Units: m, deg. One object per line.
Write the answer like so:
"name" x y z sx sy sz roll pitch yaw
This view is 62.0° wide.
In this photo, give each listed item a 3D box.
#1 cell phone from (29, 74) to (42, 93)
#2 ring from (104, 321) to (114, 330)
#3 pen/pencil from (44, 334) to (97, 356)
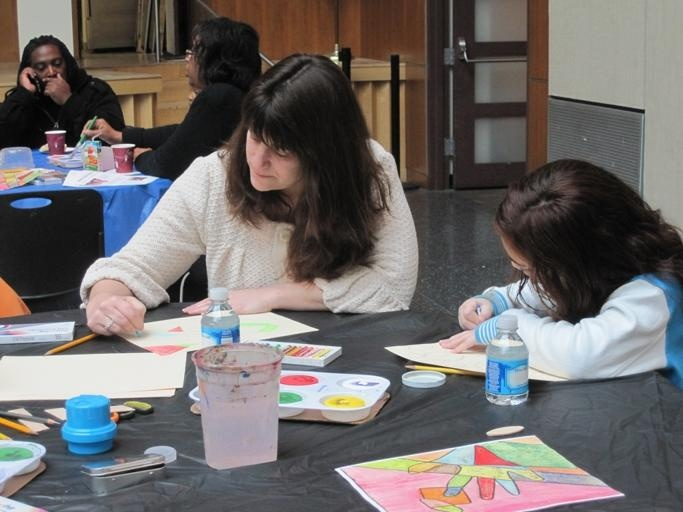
"cell phone" -2.085 -1.179 3.912 0.093 0.104 0.101 -11 -4 -14
"ring" -0.519 0.156 1.269 0.019 0.015 0.005 -3 -10 -2
"pen/pencil" -0.589 0.194 1.226 0.012 0.010 0.150 5 13 33
